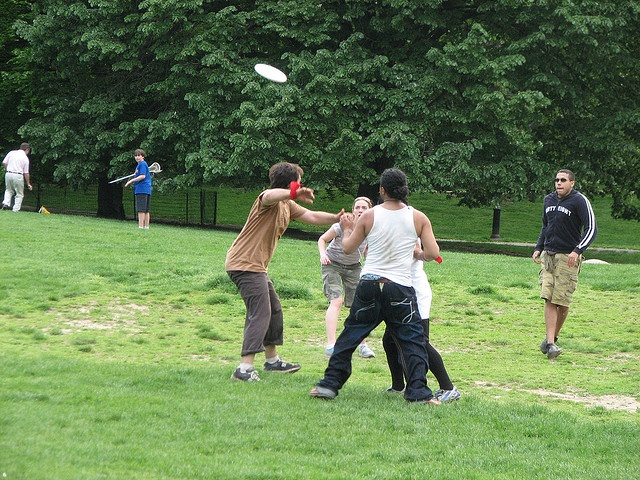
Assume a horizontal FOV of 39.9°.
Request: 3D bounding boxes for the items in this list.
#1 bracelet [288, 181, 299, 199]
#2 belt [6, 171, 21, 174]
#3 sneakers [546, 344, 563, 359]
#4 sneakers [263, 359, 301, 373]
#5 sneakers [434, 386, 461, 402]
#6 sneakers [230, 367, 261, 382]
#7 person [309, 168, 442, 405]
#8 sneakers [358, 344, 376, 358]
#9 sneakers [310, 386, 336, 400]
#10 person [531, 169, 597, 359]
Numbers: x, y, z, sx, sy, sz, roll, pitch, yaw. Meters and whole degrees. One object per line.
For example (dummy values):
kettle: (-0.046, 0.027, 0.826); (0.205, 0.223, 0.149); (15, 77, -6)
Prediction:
bracelet: (-0.360, -0.723, 12.961); (0.152, 0.259, 0.280); (4, 8, -3)
belt: (-8.801, -1.936, 25.317); (0.407, 0.081, 0.108); (-2, 10, -38)
sneakers: (4.051, 1.926, 15.184); (0.161, 0.150, 0.308); (-16, -9, -13)
sneakers: (-0.589, 1.989, 13.893); (0.579, 0.253, 0.217); (-1, -2, -4)
sneakers: (1.877, 2.288, 12.909); (0.439, 0.188, 0.152); (-24, 3, -12)
sneakers: (-1.119, 2.028, 13.245); (0.493, 0.205, 0.173); (9, 4, -11)
person: (0.981, 0.663, 12.792); (1.575, 3.336, 0.639); (4, 8, 0)
sneakers: (0.813, 1.913, 15.105); (0.158, 0.158, 0.351); (0, -5, -22)
sneakers: (0.047, 2.225, 12.803); (0.410, 0.189, 0.159); (8, -19, 14)
person: (4.242, 0.398, 15.531); (0.949, 3.202, 0.943); (-2, 10, -42)
